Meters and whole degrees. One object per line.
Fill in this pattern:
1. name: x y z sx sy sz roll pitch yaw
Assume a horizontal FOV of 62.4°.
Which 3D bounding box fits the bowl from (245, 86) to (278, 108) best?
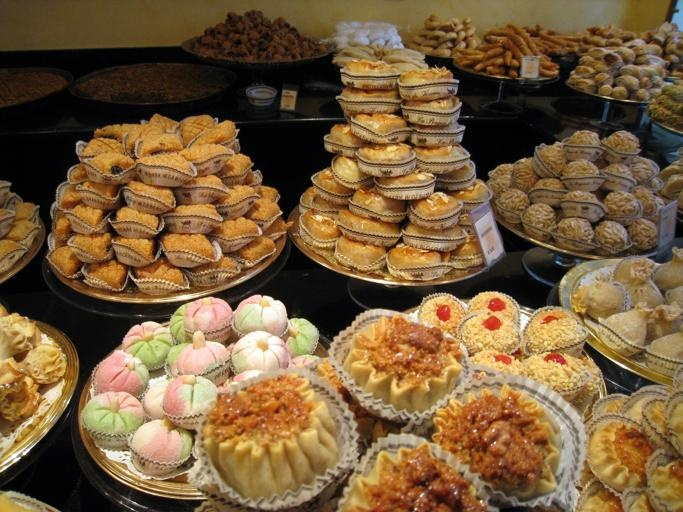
1. bowl: -0.577 -1.101 3.922 0.178 0.076 0.172 3 41 -3
